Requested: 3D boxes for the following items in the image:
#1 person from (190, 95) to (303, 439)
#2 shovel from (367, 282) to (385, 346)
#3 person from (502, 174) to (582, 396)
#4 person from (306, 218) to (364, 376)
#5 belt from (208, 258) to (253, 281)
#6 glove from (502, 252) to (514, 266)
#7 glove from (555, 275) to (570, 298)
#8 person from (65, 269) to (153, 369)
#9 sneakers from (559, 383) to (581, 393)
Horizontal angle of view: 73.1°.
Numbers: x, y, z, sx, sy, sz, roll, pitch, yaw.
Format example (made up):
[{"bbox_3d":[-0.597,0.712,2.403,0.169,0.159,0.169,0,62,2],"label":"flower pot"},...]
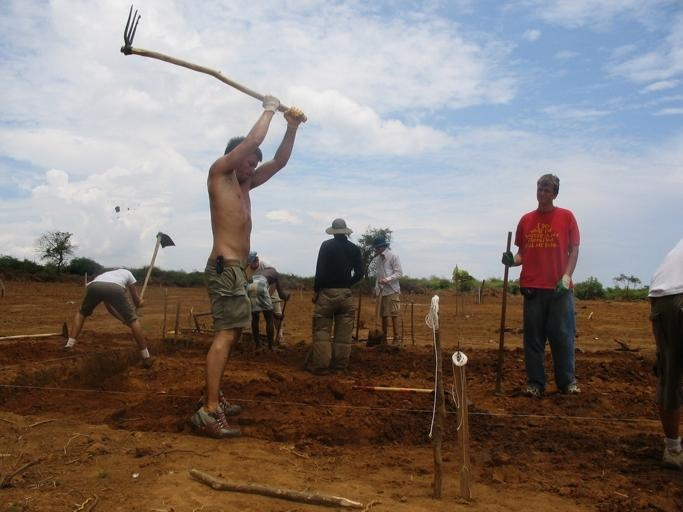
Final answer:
[{"bbox_3d":[-1.061,0.045,4.961,1.088,3.524,1.324,2,-1,0],"label":"person"},{"bbox_3d":[0.713,1.195,9.608,0.392,1.368,0.288,3,11,-7],"label":"shovel"},{"bbox_3d":[2.629,0.362,5.859,0.833,2.983,0.388,2,0,28],"label":"person"},{"bbox_3d":[-0.064,0.774,7.329,0.834,2.248,0.540,2,0,-9],"label":"person"},{"bbox_3d":[-1.181,0.143,4.774,0.272,0.197,0.267,3,-18,3],"label":"belt"},{"bbox_3d":[1.998,0.037,5.477,0.129,0.181,0.065,-3,-3,19],"label":"glove"},{"bbox_3d":[2.749,0.380,5.658,0.139,0.243,0.078,14,-17,34],"label":"glove"},{"bbox_3d":[-3.790,0.843,7.755,1.408,1.683,0.960,6,-18,-8],"label":"person"},{"bbox_3d":[2.934,1.672,5.787,0.187,0.083,0.146,3,-2,-39],"label":"sneakers"}]
